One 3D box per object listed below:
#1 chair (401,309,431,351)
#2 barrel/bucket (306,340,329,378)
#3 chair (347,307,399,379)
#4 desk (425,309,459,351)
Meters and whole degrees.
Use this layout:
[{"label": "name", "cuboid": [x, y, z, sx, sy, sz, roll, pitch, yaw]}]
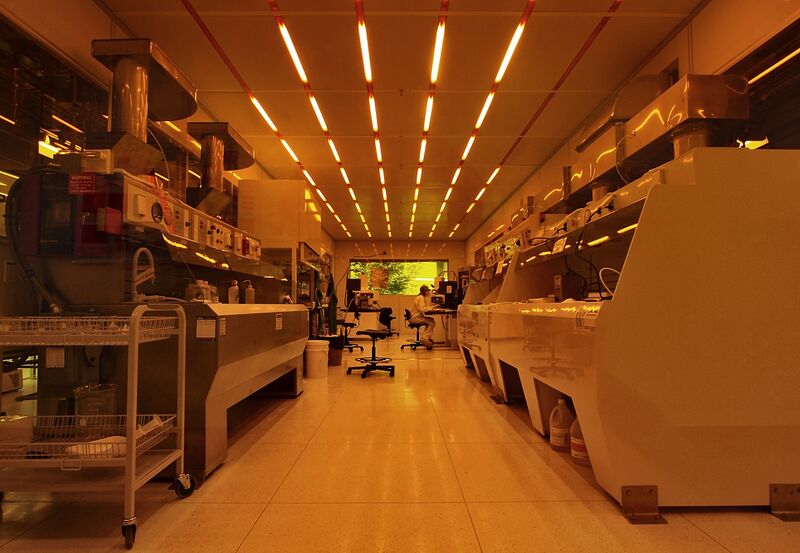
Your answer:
[{"label": "chair", "cuboid": [0.279, 1.063, 11.192, 0.743, 0.985, 0.745, -2, -3, 16]}, {"label": "barrel/bucket", "cuboid": [-1.027, 1.035, 7.098, 0.384, 0.434, 0.383, 2, -9, 0]}, {"label": "chair", "cuboid": [-0.357, 1.024, 7.697, 0.609, 0.636, 0.615, -5, -7, 35]}, {"label": "desk", "cuboid": [0.902, 1.092, 11.651, 0.625, 0.771, 1.197, 1, -4, 4]}]
